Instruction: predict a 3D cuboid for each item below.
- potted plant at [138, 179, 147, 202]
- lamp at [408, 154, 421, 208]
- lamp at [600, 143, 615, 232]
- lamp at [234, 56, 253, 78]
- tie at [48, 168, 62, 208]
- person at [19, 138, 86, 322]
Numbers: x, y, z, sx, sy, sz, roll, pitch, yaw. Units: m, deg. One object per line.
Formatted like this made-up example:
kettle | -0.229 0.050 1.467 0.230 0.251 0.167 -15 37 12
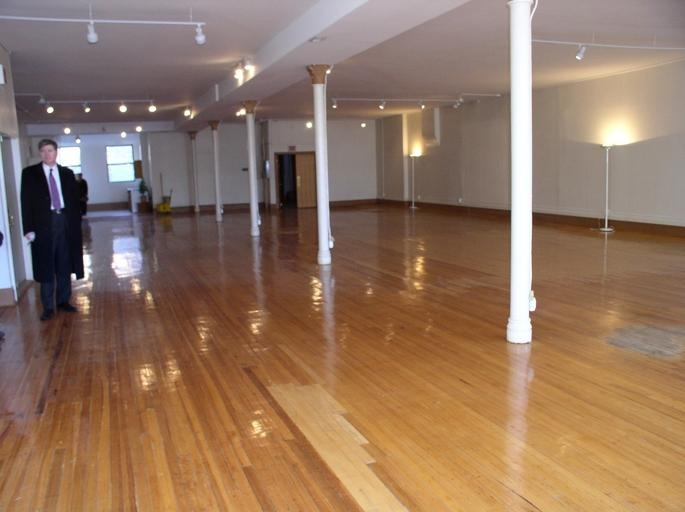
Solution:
potted plant | -8.855 -2.900 22.560 0.386 0.924 0.651 -6 12 -21
lamp | 2.646 -2.822 19.239 0.302 1.936 0.898 -5 12 -17
lamp | 6.215 -1.601 11.925 0.330 1.921 0.740 5 13 27
lamp | -1.975 -3.661 10.026 0.325 0.365 1.118 -5 12 -15
tie | -3.381 -0.771 5.953 0.106 0.464 0.058 -10 14 -38
person | -3.450 -0.300 6.070 0.597 2.103 0.347 -8 13 -30
